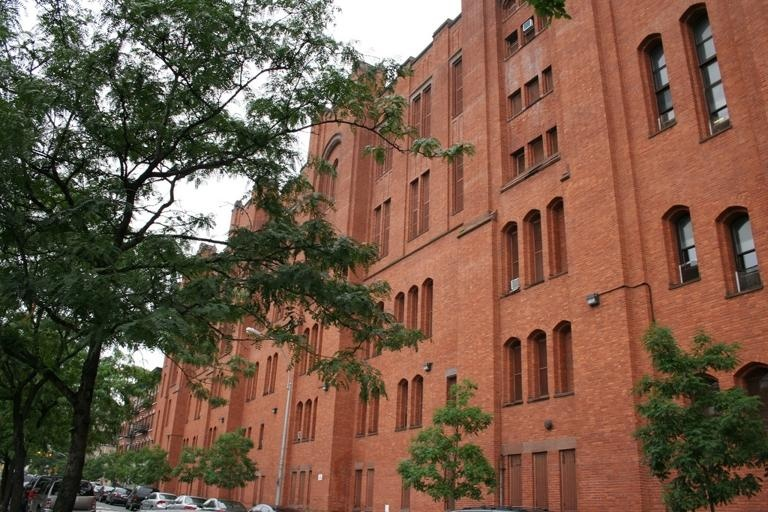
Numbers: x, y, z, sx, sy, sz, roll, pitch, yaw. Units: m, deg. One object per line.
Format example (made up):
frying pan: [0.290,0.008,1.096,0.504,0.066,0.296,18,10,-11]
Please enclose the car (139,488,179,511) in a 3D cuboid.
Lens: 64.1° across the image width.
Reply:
car: [-14.359,15.678,38.828,1.739,1.250,4.063,17,-33,-43]
